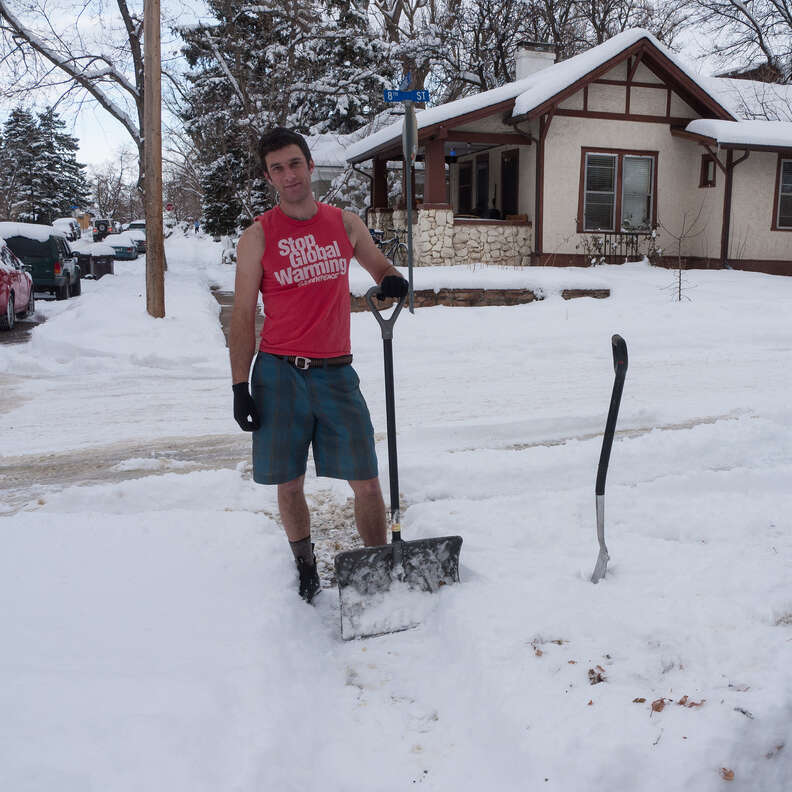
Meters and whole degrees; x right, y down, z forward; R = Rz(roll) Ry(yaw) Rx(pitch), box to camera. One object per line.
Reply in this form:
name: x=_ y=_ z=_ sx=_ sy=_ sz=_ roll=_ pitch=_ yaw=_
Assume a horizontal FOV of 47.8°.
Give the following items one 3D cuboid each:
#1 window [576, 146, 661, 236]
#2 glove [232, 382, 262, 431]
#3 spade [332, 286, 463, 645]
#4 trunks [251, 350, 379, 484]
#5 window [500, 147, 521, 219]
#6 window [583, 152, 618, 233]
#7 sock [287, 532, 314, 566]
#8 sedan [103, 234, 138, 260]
window: x=4.138 y=-3.931 z=16.974 sx=1.392 sy=1.742 sz=0.204 roll=0 pitch=3 yaw=-20
glove: x=-0.593 y=0.050 z=3.575 sx=0.104 sy=0.225 sz=0.193 roll=-1 pitch=8 yaw=-10
spade: x=0.000 y=0.290 z=3.401 sx=0.529 sy=1.595 sz=0.105 roll=-8 pitch=32 yaw=-10
trunks: x=-0.332 y=-0.012 z=3.751 sx=0.516 sy=0.737 sz=0.355 roll=-1 pitch=38 yaw=-6
window: x=2.311 y=-4.265 z=17.969 sx=0.063 sy=1.336 sz=1.003 roll=1 pitch=12 yaw=24
window: x=3.848 y=-3.915 z=17.000 sx=0.613 sy=1.554 sz=0.094 roll=3 pitch=-9 yaw=8
sock: x=-0.399 y=0.668 z=3.861 sx=0.102 sy=0.190 sz=0.106 roll=-7 pitch=-4 yaw=-7
sedan: x=-10.447 y=-5.804 z=34.549 sx=0.964 sy=0.879 sz=2.412 roll=-1 pitch=21 yaw=-10
